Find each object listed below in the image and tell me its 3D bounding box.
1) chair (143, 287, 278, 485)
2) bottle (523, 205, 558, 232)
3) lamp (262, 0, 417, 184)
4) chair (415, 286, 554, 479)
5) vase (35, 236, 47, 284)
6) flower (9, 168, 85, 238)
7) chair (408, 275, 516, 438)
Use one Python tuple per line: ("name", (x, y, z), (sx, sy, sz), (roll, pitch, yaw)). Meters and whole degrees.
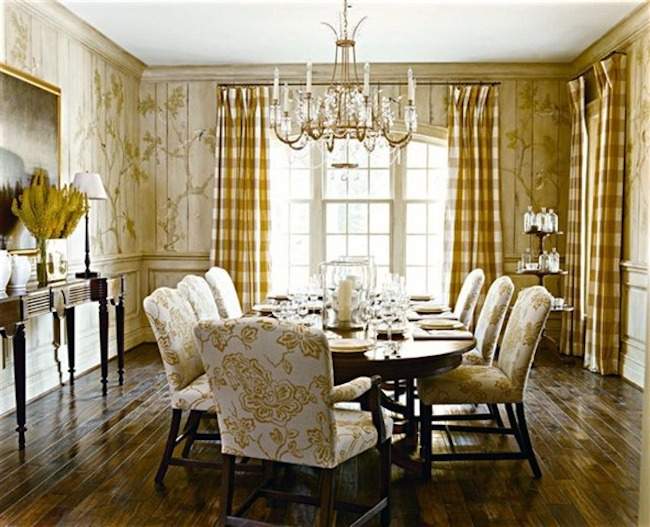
("chair", (-0.714, 0.726, 3.322), (0.607, 1.181, 0.617), (1, 2, -4))
("bottle", (2.399, -0.491, 5.882), (0.285, 0.284, 0.113), (0, -1, -2))
("lamp", (0.166, -1.771, 5.273), (1.310, 2.204, 1.480), (0, 2, -4))
("chair", (1.067, 0.724, 3.595), (0.706, 1.286, 0.672), (3, 6, 9))
("vase", (-2.192, -0.009, 4.112), (0.084, 0.355, 0.198), (-4, 7, -29))
("flower", (-2.220, -0.481, 4.367), (0.425, 0.637, 0.530), (3, 8, 1))
("chair", (0.947, 0.625, 4.143), (0.834, 1.756, 0.841), (0, 1, 4))
